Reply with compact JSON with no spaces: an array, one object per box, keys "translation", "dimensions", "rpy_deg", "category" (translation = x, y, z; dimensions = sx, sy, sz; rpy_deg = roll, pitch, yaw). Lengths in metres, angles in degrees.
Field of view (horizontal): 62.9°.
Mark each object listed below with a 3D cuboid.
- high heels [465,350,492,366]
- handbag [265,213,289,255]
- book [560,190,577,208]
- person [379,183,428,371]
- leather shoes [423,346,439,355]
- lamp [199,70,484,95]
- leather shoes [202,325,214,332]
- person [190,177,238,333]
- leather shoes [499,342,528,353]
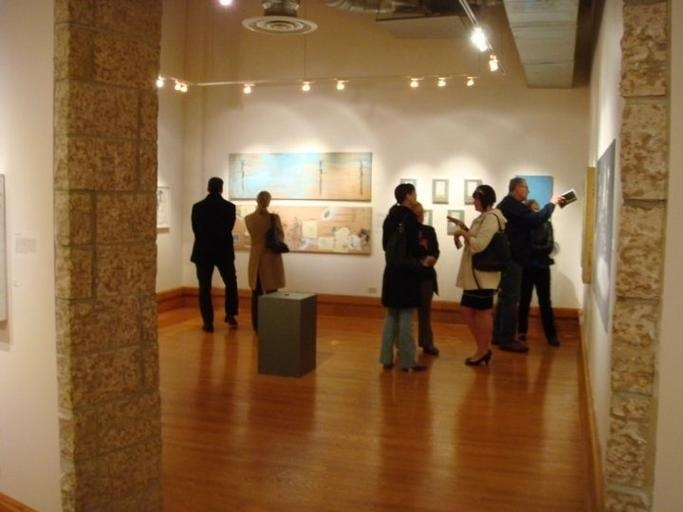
[{"translation":[1.650,1.223,6.723],"dimensions":[0.286,0.165,0.158],"rpy_deg":[1,2,-5],"category":"high heels"},{"translation":[-0.943,-0.321,8.089],"dimensions":[0.298,0.585,0.151],"rpy_deg":[0,5,-9],"category":"handbag"},{"translation":[2.958,-0.735,7.247],"dimensions":[0.263,0.071,0.296],"rpy_deg":[-31,11,25],"category":"book"},{"translation":[0.690,0.269,6.295],"dimensions":[0.500,2.168,0.629],"rpy_deg":[1,5,7],"category":"person"},{"translation":[1.168,1.221,7.200],"dimensions":[0.088,0.079,0.175],"rpy_deg":[2,-7,-32],"category":"leather shoes"},{"translation":[-0.131,-2.850,9.159],"dimensions":[4.693,0.374,0.802],"rpy_deg":[2,6,16],"category":"lamp"},{"translation":[-2.013,1.080,8.382],"dimensions":[0.183,0.099,0.156],"rpy_deg":[0,6,-7],"category":"leather shoes"},{"translation":[-1.937,-0.033,8.475],"dimensions":[0.685,2.310,0.461],"rpy_deg":[-1,5,-12],"category":"person"},{"translation":[2.265,1.202,7.339],"dimensions":[0.340,0.159,0.152],"rpy_deg":[-2,3,9],"category":"leather shoes"}]
